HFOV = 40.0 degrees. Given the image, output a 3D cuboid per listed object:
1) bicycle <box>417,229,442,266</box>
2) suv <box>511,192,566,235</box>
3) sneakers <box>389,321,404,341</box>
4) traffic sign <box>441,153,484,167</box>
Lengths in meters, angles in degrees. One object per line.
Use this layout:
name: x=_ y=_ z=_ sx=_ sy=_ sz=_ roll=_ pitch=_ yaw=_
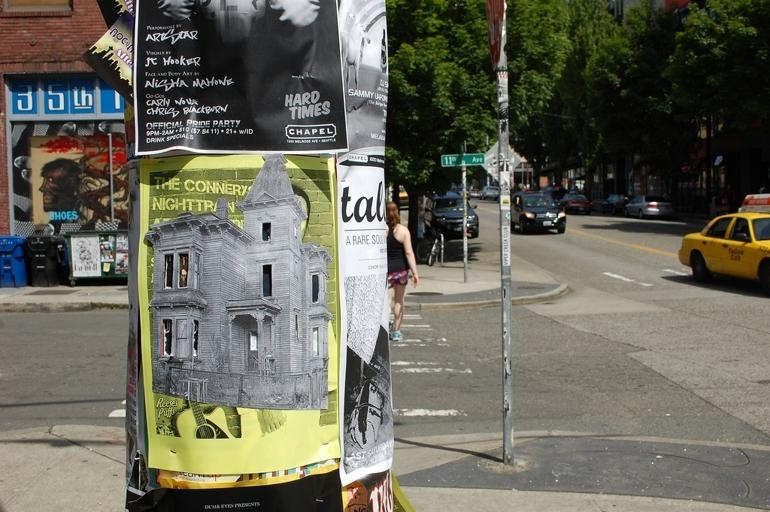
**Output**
bicycle: x=1.519 y=-0.159 z=33.165 sx=0.567 sy=0.721 sz=1.194 roll=-8 pitch=-6 yaw=32
suv: x=6.235 y=-1.795 z=44.285 sx=1.253 sy=1.104 sz=2.741 roll=-1 pitch=-1 yaw=-5
sneakers: x=0.217 y=1.465 z=19.969 sx=0.243 sy=0.281 sz=0.621 roll=0 pitch=-10 yaw=4
traffic sign: x=2.024 y=-2.386 z=26.623 sx=1.142 sy=0.336 sz=0.816 roll=4 pitch=13 yaw=20
